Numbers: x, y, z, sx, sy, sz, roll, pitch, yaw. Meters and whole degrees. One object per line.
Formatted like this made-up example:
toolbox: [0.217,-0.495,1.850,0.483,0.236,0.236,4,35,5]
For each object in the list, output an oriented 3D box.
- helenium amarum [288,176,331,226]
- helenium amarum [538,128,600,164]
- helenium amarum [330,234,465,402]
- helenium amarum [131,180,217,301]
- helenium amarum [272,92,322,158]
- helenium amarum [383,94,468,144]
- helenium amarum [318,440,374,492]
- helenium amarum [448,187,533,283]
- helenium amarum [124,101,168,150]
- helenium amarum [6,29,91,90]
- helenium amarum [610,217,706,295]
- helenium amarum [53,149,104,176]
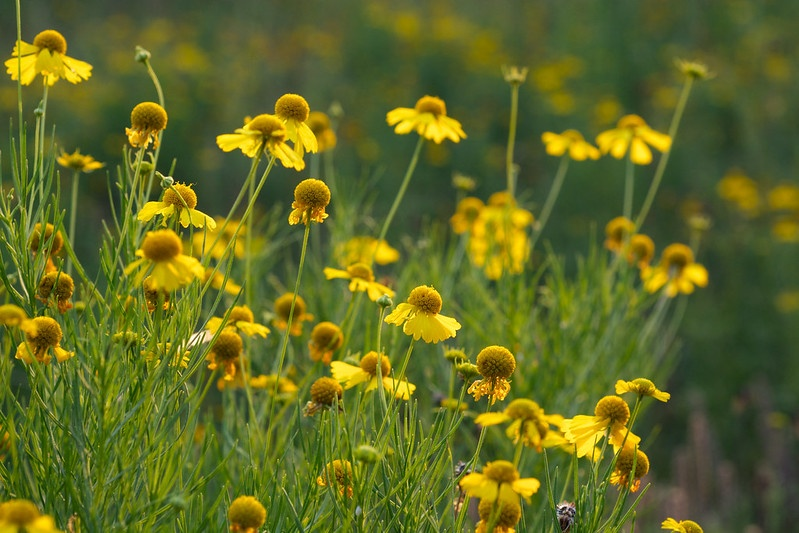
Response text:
helenium amarum: [-0.393,-0.287,5.636,0.130,0.227,0.145,1,5,4]
helenium amarum: [0.776,-0.549,5.981,0.176,0.094,0.191,8,16,-28]
helenium amarum: [-0.028,0.321,5.599,0.493,0.518,0.338,16,9,26]
helenium amarum: [-0.958,-0.098,5.466,0.335,0.460,0.357,9,8,-10]
helenium amarum: [-0.464,-0.620,5.637,0.159,0.276,0.119,-16,40,-2]
helenium amarum: [0.117,-0.659,5.808,0.348,0.189,0.284,13,9,-2]
helenium amarum: [-0.214,0.865,5.453,0.198,0.129,0.211,-30,-3,-10]
helenium amarum: [0.446,-0.149,6.203,0.331,0.442,0.153,2,8,13]
helenium amarum: [-1.081,-0.584,5.584,0.145,0.257,0.167,-4,-10,22]
helenium amarum: [-1.510,-0.873,5.590,0.243,0.159,0.274,5,-12,4]
helenium amarum: [1.183,-0.028,6.098,0.433,0.314,0.141,30,-7,12]
helenium amarum: [-1.451,-0.468,5.863,0.188,0.107,0.269,10,10,-21]
